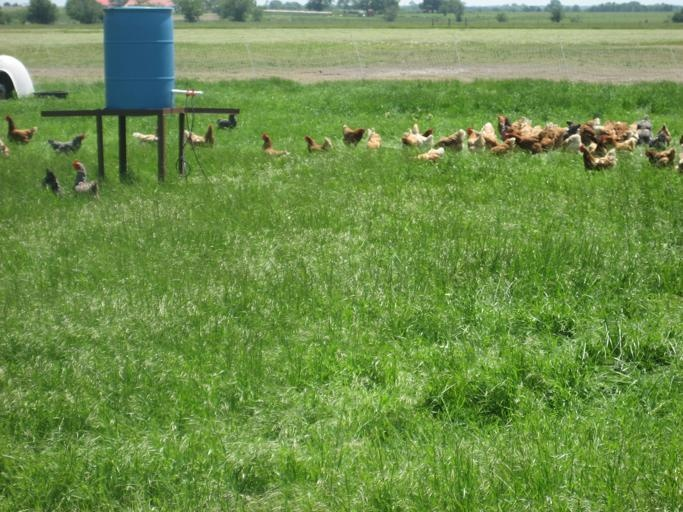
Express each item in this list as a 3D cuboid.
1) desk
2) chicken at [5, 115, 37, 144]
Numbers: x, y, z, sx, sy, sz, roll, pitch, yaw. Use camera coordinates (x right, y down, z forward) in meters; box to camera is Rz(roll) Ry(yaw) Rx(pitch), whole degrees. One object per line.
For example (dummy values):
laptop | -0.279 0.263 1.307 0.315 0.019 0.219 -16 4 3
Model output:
desk | -4.022 -2.378 20.692 3.855 2.141 1.926 -1 -18 -29
chicken | -8.015 -3.221 25.012 0.685 0.653 0.965 -7 16 -19
